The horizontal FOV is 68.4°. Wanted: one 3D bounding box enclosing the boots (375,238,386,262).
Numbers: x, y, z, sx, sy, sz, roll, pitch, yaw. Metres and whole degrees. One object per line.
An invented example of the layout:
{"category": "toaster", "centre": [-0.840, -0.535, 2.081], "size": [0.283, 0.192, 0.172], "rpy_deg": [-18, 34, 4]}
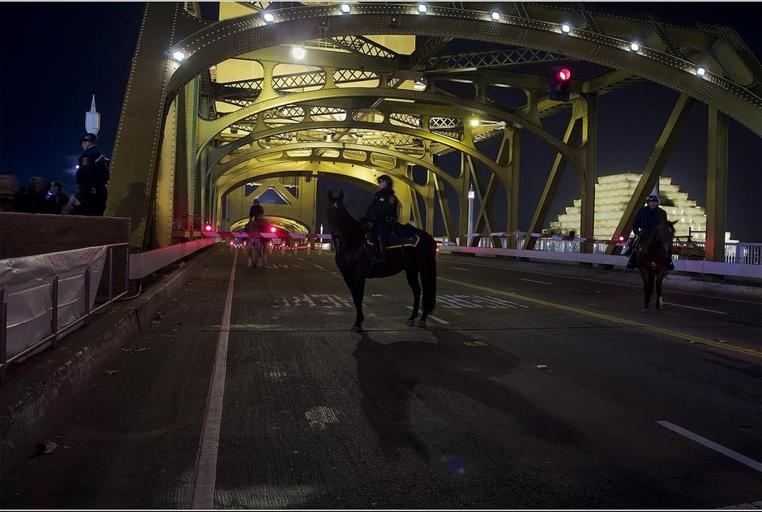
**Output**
{"category": "boots", "centre": [0.004, -0.126, 11.959], "size": [0.192, 0.539, 0.107], "rpy_deg": [-2, 6, -32]}

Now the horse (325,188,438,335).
{"category": "horse", "centre": [0.065, 0.208, 12.549], "size": [3.282, 2.727, 0.942], "rpy_deg": [0, 7, -34]}

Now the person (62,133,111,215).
{"category": "person", "centre": [-6.842, -1.915, 13.175], "size": [0.748, 1.927, 0.662], "rpy_deg": [-2, 6, -30]}

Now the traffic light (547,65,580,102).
{"category": "traffic light", "centre": [7.642, -7.240, 23.643], "size": [0.812, 1.487, 0.778], "rpy_deg": [15, -5, 27]}

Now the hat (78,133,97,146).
{"category": "hat", "centre": [-6.864, -2.747, 13.126], "size": [0.347, 0.263, 0.332], "rpy_deg": [-2, 6, -29]}
